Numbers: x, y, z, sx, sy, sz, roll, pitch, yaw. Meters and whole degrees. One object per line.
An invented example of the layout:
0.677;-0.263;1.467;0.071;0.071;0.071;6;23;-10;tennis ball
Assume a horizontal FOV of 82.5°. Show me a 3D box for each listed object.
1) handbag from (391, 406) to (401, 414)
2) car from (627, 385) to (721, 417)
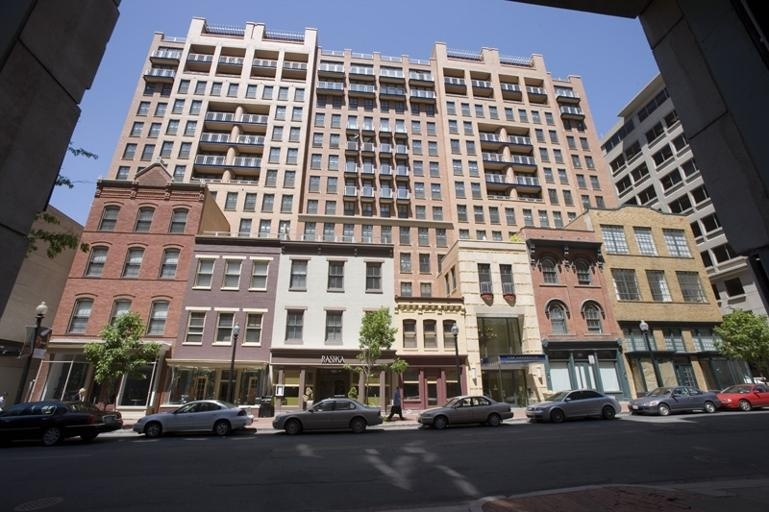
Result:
0.599;8.345;23.875;0.467;0.404;0.161;2;-20;-1;handbag
15.013;7.528;22.937;4.206;1.338;1.270;2;-13;-16;car
